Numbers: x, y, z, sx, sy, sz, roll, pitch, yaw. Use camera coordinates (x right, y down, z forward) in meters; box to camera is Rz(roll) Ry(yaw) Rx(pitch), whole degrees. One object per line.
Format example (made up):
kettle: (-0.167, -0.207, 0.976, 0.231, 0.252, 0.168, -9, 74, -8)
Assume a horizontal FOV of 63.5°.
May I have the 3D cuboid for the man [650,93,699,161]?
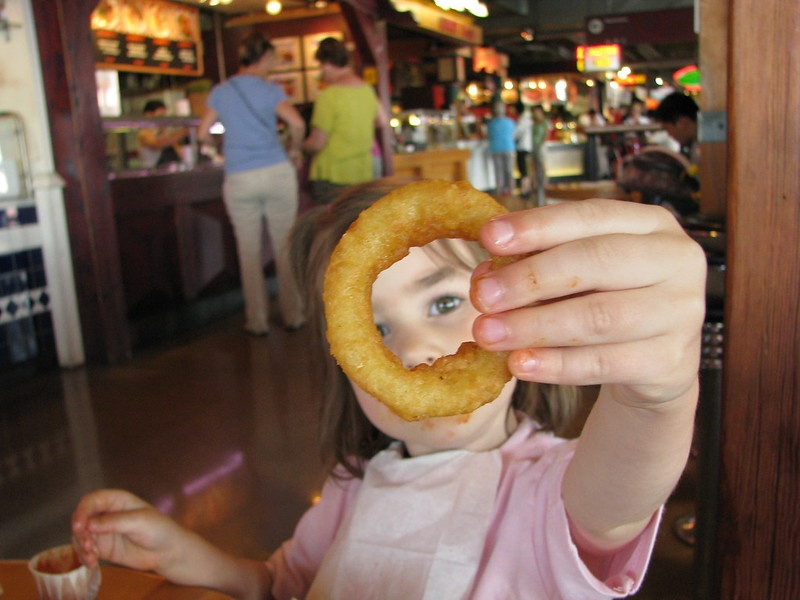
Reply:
man: (1.734, -1.089, 4.070, 0.238, 0.424, 0.642, 1, 16, 22)
